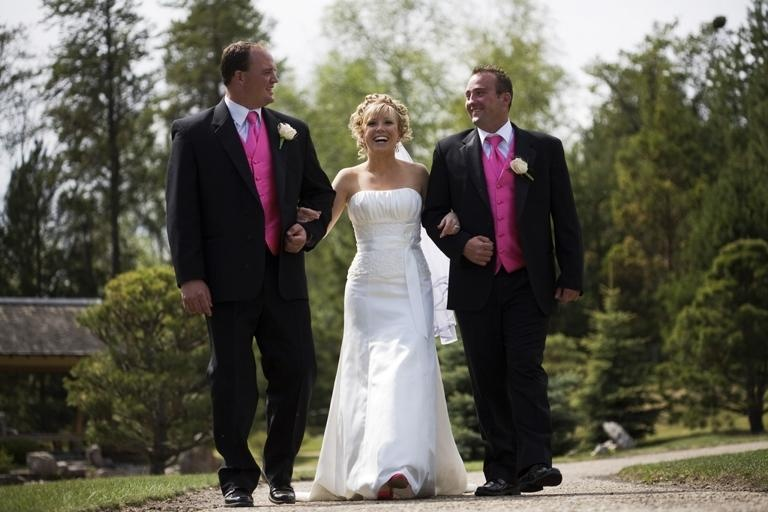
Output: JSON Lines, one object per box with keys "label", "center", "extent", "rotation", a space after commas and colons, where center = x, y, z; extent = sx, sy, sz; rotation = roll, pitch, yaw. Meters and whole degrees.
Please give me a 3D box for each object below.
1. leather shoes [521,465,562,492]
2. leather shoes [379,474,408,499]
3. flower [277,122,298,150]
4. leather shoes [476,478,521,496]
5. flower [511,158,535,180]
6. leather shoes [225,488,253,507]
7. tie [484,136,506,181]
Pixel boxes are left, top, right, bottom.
{"label": "leather shoes", "center": [1.818, 2.637, 18.332], "extent": [0.524, 0.265, 0.242], "rotation": [-22, -1, 25]}
{"label": "leather shoes", "center": [0.092, 2.788, 18.564], "extent": [0.226, 0.204, 0.367], "rotation": [15, -32, -31]}
{"label": "flower", "center": [-1.186, -1.475, 18.726], "extent": [0.243, 0.314, 0.268], "rotation": [14, 9, -19]}
{"label": "leather shoes", "center": [1.348, 2.806, 18.476], "extent": [0.472, 0.259, 0.219], "rotation": [5, -11, -3]}
{"label": "flower", "center": [1.650, -1.062, 18.680], "extent": [0.227, 0.286, 0.138], "rotation": [-7, 32, 19]}
{"label": "leather shoes", "center": [-1.713, 2.857, 18.184], "extent": [0.329, 0.218, 0.252], "rotation": [-3, -5, -9]}
{"label": "tie", "center": [1.336, -1.187, 18.801], "extent": [0.261, 0.490, 0.099], "rotation": [0, -9, 11]}
